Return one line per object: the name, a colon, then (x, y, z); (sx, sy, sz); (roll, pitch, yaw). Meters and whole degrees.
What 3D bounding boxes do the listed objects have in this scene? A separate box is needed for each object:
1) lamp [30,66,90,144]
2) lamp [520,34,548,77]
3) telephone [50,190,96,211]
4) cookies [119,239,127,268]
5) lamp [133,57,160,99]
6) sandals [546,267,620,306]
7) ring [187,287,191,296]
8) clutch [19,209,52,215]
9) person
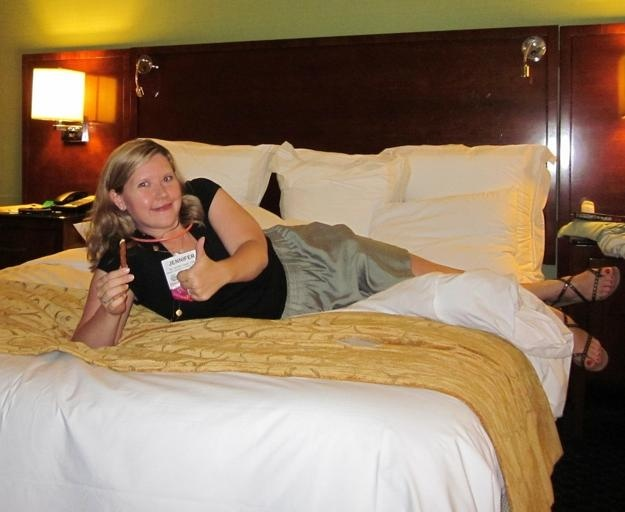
lamp: (-1.663, -0.985, 3.457); (0.364, 0.431, 0.324); (2, 15, -20)
lamp: (1.143, -1.029, 2.696); (0.124, 0.210, 0.065); (-1, 9, 18)
telephone: (-1.482, -0.343, 3.251); (0.263, 0.102, 0.269); (-3, 16, 4)
cookies: (-0.558, -0.006, 1.540); (0.020, 0.086, 0.022); (-4, -20, -7)
lamp: (-1.046, -1.133, 3.314); (0.182, 0.243, 0.087); (6, 12, -10)
sandals: (1.100, 0.119, 2.138); (0.363, 0.121, 0.107); (-10, 8, -4)
ring: (-0.358, 0.101, 1.512); (0.007, 0.021, 0.022); (-19, 26, -12)
clutch: (-1.724, -0.275, 3.248); (0.087, 0.018, 0.091); (-3, -3, 41)
person: (0.046, -0.003, 1.890); (1.560, 0.591, 0.943); (1, 2, -12)
